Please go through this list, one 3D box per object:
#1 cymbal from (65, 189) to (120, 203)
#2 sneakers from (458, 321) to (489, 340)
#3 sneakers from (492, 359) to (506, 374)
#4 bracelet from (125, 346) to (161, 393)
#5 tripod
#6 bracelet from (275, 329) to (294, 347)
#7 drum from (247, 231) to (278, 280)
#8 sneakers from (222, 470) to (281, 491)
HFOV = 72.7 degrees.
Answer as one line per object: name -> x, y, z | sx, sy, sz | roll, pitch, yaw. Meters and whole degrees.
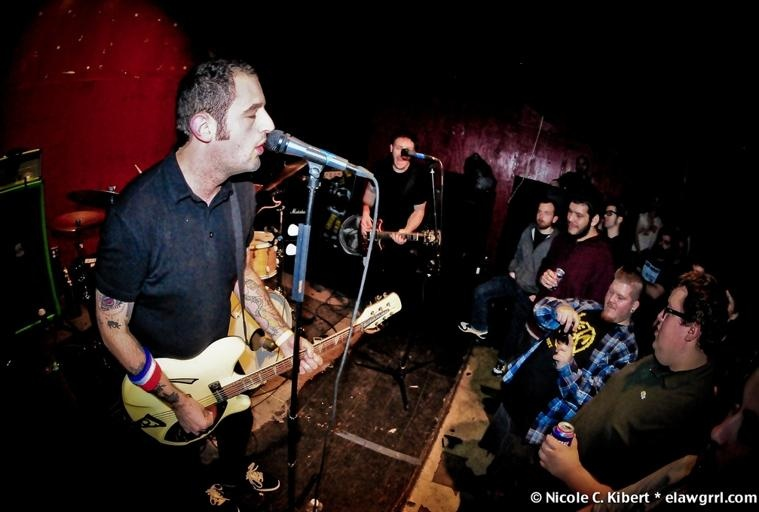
cymbal -> -3.453, -0.709, 6.180 | 0.492, 0.087, 0.464 | 2, -1, -20
sneakers -> 1.334, 1.082, 7.358 | 0.446, 0.181, 0.177 | 30, -14, 6
sneakers -> 1.602, 1.479, 6.813 | 0.071, 0.142, 0.136 | 31, 9, 35
bracelet -> -1.942, 1.003, 4.351 | 0.271, 0.283, 0.350 | -38, 15, -12
tripod -> 0.270, 1.075, 6.800 | 0.998, 1.004, 1.446 | 15, 37, -34
bracelet -> -0.887, 0.767, 4.799 | 0.155, 0.045, 0.155 | -31, 6, 38
drum -> -1.431, 0.007, 6.315 | 0.443, 0.337, 0.440 | 3, 33, -2
sneakers -> -1.326, 2.371, 5.409 | 0.600, 0.221, 0.201 | 11, 45, -25
